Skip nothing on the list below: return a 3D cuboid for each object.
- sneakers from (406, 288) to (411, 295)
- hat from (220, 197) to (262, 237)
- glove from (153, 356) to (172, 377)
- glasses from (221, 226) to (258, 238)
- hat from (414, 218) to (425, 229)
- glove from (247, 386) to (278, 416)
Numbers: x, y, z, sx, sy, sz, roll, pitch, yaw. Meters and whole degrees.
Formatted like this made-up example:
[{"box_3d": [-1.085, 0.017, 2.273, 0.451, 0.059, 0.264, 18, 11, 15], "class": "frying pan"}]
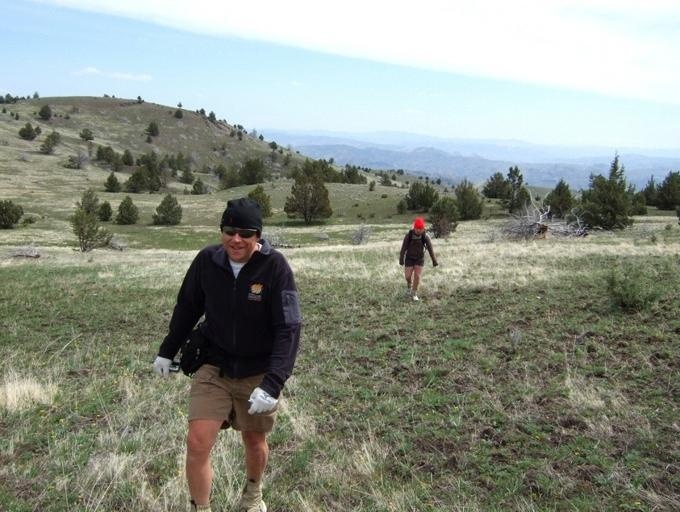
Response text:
[{"box_3d": [2.148, 1.103, 15.796, 0.119, 0.138, 0.237, -4, -16, 8], "class": "sneakers"}, {"box_3d": [-1.223, -0.509, 6.414, 0.445, 0.436, 0.480, 7, 3, -6], "class": "hat"}, {"box_3d": [-2.299, 1.407, 6.586, 0.183, 0.265, 0.259, 23, 2, -3], "class": "glove"}, {"box_3d": [-1.246, -0.297, 6.428, 0.430, 0.154, 0.117, -4, 11, -10], "class": "glasses"}, {"box_3d": [2.278, -0.919, 14.639, 0.316, 0.429, 0.470, -1, 5, 8], "class": "hat"}, {"box_3d": [-0.911, 1.775, 6.134, 0.329, 0.477, 0.409, -3, 11, -8], "class": "glove"}]
